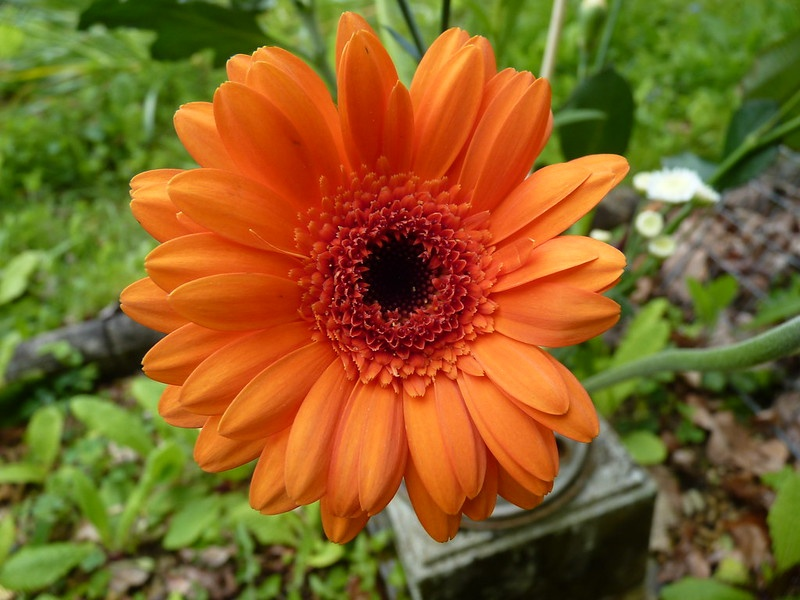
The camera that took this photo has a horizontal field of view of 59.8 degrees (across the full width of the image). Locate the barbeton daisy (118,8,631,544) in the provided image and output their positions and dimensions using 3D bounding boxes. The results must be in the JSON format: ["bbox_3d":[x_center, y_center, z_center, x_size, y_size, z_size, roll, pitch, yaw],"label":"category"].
[{"bbox_3d":[-0.017,-0.077,1.084,0.720,0.703,0.240,20,52,-8],"label":"barbeton daisy"}]
